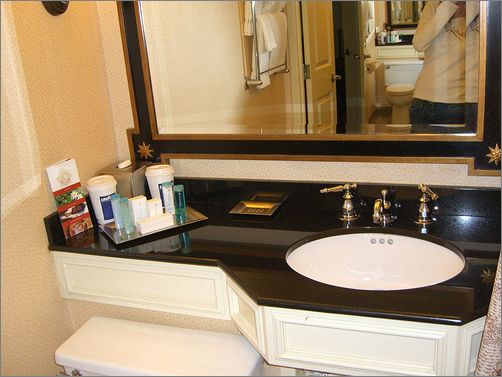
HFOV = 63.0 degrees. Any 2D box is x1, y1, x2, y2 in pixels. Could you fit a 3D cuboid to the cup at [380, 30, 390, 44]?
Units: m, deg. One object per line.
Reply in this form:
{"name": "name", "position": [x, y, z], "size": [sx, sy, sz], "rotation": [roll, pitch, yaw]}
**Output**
{"name": "cup", "position": [0.536, -0.616, 1.660], "size": [0.041, 0.076, 0.044], "rotation": [-1, 12, 0]}

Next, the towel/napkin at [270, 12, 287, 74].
{"name": "towel/napkin", "position": [0.106, -0.648, 1.756], "size": [0.045, 0.168, 0.130], "rotation": [9, 14, 24]}

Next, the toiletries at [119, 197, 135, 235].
{"name": "toiletries", "position": [-0.527, 0.115, 1.728], "size": [0.048, 0.149, 0.077], "rotation": [-10, 21, -17]}

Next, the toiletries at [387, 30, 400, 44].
{"name": "toiletries", "position": [0.575, -0.615, 1.650], "size": [0.035, 0.038, 0.046], "rotation": [-13, 15, -34]}

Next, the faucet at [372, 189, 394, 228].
{"name": "faucet", "position": [0.547, 0.086, 1.690], "size": [0.082, 0.175, 0.124], "rotation": [8, 32, 28]}

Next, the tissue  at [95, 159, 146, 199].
{"name": "tissue ", "position": [-0.608, -0.059, 1.954], "size": [0.173, 0.171, 0.176], "rotation": [3, 10, 19]}
